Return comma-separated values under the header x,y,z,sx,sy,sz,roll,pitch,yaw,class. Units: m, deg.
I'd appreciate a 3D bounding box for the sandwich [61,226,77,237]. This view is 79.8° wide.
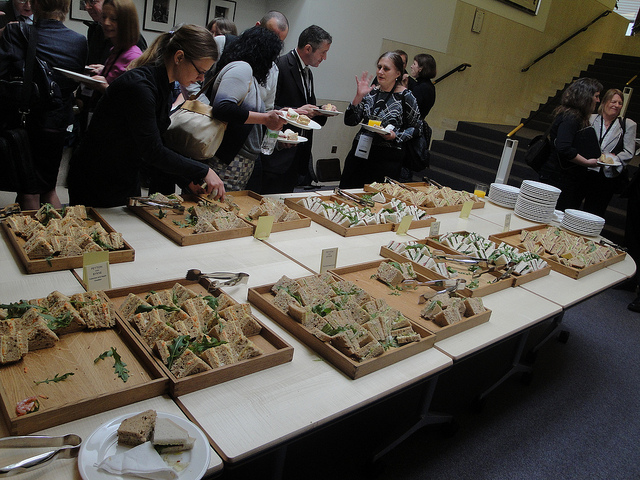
x,y,z,sx,sy,sz,roll,pitch,yaw,class
-1.172,-0.041,1.785,0.042,0.041,0.041,-29,30,-30,sandwich

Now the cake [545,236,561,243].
x,y,z,sx,sy,sz,roll,pitch,yaw,class
1.862,-0.010,3.060,0.072,0.018,0.067,-4,18,-4,cake

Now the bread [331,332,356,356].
x,y,z,sx,sy,sz,roll,pitch,yaw,class
0.083,0.389,1.428,0.079,0.082,0.023,10,45,44,bread

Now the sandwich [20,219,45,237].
x,y,z,sx,sy,sz,roll,pitch,yaw,class
-1.361,-0.056,1.819,0.068,0.023,0.070,16,53,41,sandwich

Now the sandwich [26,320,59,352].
x,y,z,sx,sy,sz,roll,pitch,yaw,class
-0.897,0.320,1.250,0.088,0.059,0.093,11,-19,-38,sandwich

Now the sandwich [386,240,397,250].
x,y,z,sx,sy,sz,roll,pitch,yaw,class
0.451,0.033,2.428,0.050,0.013,0.050,34,83,36,sandwich

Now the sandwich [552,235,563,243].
x,y,z,sx,sy,sz,roll,pitch,yaw,class
1.909,-0.006,3.095,0.057,0.016,0.061,-6,38,-25,sandwich

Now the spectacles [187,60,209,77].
x,y,z,sx,sy,sz,roll,pitch,yaw,class
-0.667,-0.924,2.054,0.032,0.083,0.087,20,27,21,spectacles

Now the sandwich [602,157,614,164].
x,y,z,sx,sy,sz,roll,pitch,yaw,class
3.172,-0.883,4.241,0.094,0.033,0.071,22,48,27,sandwich

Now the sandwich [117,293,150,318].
x,y,z,sx,sy,sz,roll,pitch,yaw,class
-0.703,0.253,1.434,0.099,0.056,0.063,24,29,27,sandwich

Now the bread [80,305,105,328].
x,y,z,sx,sy,sz,roll,pitch,yaw,class
-0.805,0.278,1.353,0.076,0.019,0.073,-4,67,-47,bread

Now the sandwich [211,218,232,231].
x,y,z,sx,sy,sz,roll,pitch,yaw,class
-0.587,-0.094,2.267,0.086,0.020,0.081,-3,47,-30,sandwich

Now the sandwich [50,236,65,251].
x,y,z,sx,sy,sz,roll,pitch,yaw,class
-1.172,0.010,1.707,0.063,0.017,0.058,-10,54,-38,sandwich

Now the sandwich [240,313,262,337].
x,y,z,sx,sy,sz,roll,pitch,yaw,class
-0.268,0.331,1.462,0.083,0.035,0.080,-11,68,-55,sandwich

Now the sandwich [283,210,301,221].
x,y,z,sx,sy,sz,roll,pitch,yaw,class
-0.197,-0.162,2.588,0.078,0.020,0.072,1,67,-27,sandwich

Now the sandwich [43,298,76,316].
x,y,z,sx,sy,sz,roll,pitch,yaw,class
-0.914,0.236,1.325,0.052,0.013,0.051,26,59,30,sandwich

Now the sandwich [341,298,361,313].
x,y,z,sx,sy,sz,roll,pitch,yaw,class
0.131,0.288,1.656,0.054,0.014,0.053,-40,47,-24,sandwich

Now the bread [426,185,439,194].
x,y,z,sx,sy,sz,roll,pitch,yaw,class
1.102,-0.498,3.798,0.089,0.022,0.092,-36,42,-21,bread

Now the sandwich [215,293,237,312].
x,y,z,sx,sy,sz,roll,pitch,yaw,class
-0.393,0.256,1.539,0.063,0.015,0.060,-23,35,-39,sandwich

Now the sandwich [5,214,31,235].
x,y,z,sx,sy,sz,roll,pitch,yaw,class
-1.452,-0.082,1.838,0.097,0.028,0.099,35,37,-13,sandwich

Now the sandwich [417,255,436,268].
x,y,z,sx,sy,sz,roll,pitch,yaw,class
0.625,0.130,2.266,0.069,0.017,0.071,-19,35,-34,sandwich

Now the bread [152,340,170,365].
x,y,z,sx,sy,sz,roll,pitch,yaw,class
-0.513,0.365,1.239,0.018,0.065,0.063,-14,44,-43,bread

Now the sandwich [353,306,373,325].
x,y,z,sx,sy,sz,roll,pitch,yaw,class
0.173,0.323,1.622,0.069,0.020,0.073,17,26,-17,sandwich

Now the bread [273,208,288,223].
x,y,z,sx,sy,sz,roll,pitch,yaw,class
-0.273,-0.162,2.551,0.064,0.026,0.088,11,44,9,bread

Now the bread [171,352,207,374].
x,y,z,sx,sy,sz,roll,pitch,yaw,class
-0.432,0.392,1.219,0.059,0.015,0.062,-38,45,-26,bread

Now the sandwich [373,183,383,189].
x,y,z,sx,sy,sz,roll,pitch,yaw,class
0.540,-0.519,3.643,0.063,0.068,0.068,-21,18,-19,sandwich

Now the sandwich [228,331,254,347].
x,y,z,sx,sy,sz,roll,pitch,yaw,class
-0.296,0.353,1.357,0.043,0.012,0.042,-15,34,-28,sandwich

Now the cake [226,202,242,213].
x,y,z,sx,sy,sz,roll,pitch,yaw,class
-0.582,-0.219,2.594,0.072,0.017,0.068,28,33,24,cake

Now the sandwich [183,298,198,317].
x,y,z,sx,sy,sz,roll,pitch,yaw,class
-0.495,0.261,1.453,0.014,0.049,0.052,-24,-10,26,sandwich

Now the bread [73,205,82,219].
x,y,z,sx,sy,sz,roll,pitch,yaw,class
-1.287,-0.151,2.037,0.017,0.061,0.059,-26,54,16,bread

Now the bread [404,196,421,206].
x,y,z,sx,sy,sz,roll,pitch,yaw,class
0.826,-0.352,3.386,0.088,0.025,0.090,-15,32,-32,bread

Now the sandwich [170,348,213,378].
x,y,z,sx,sy,sz,roll,pitch,yaw,class
-0.414,0.398,1.213,0.086,0.028,0.087,-21,42,-41,sandwich

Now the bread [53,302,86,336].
x,y,z,sx,sy,sz,roll,pitch,yaw,class
-0.866,0.277,1.316,0.092,0.084,0.086,-11,32,-37,bread

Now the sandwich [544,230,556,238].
x,y,z,sx,sy,sz,roll,pitch,yaw,class
1.904,-0.034,3.195,0.068,0.020,0.075,-21,32,-26,sandwich

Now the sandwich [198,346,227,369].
x,y,z,sx,sy,sz,roll,pitch,yaw,class
-0.355,0.392,1.266,0.068,0.022,0.066,47,42,17,sandwich

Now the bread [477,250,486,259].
x,y,z,sx,sy,sz,roll,pitch,yaw,class
1.068,0.098,2.551,0.032,0.018,0.076,-12,56,-7,bread

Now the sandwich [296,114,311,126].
x,y,z,sx,sy,sz,roll,pitch,yaw,class
-0.141,-0.989,3.136,0.101,0.061,0.101,-2,21,-10,sandwich

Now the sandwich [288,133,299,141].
x,y,z,sx,sy,sz,roll,pitch,yaw,class
-0.228,-0.862,3.187,0.092,0.045,0.247,7,26,-6,sandwich

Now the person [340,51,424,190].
x,y,z,sx,sy,sz,roll,pitch,yaw,class
0.658,-1.182,4.113,0.845,1.507,1.124,15,26,10,person

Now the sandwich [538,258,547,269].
x,y,z,sx,sy,sz,roll,pitch,yaw,class
1.506,0.167,2.612,0.065,0.016,0.062,17,30,37,sandwich

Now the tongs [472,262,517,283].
x,y,z,sx,sy,sz,roll,pitch,yaw,class
1.085,0.204,2.377,0.262,0.069,0.143,-22,32,-23,tongs

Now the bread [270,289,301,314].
x,y,z,sx,sy,sz,roll,pitch,yaw,class
-0.155,0.273,1.615,0.093,0.097,0.024,40,1,21,bread

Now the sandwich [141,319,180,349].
x,y,z,sx,sy,sz,roll,pitch,yaw,class
-0.557,0.326,1.315,0.154,0.063,0.078,20,27,20,sandwich

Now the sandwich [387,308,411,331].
x,y,z,sx,sy,sz,roll,pitch,yaw,class
0.320,0.337,1.629,0.070,0.017,0.072,-14,29,-26,sandwich

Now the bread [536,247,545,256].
x,y,z,sx,sy,sz,roll,pitch,yaw,class
1.656,0.092,2.890,0.051,0.013,0.055,-33,10,-11,bread
